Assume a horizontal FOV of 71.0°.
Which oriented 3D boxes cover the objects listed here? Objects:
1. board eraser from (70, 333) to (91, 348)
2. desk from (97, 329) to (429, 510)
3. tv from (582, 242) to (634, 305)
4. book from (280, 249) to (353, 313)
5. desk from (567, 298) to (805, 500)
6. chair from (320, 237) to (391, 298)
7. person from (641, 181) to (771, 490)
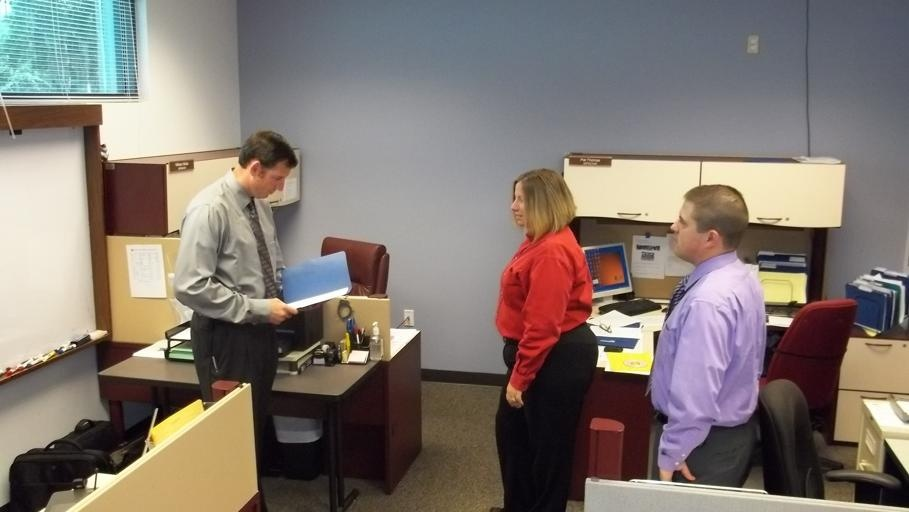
[{"bbox_3d":[-2.844,0.646,4.837,0.073,0.033,0.099,4,11,20],"label":"board eraser"},{"bbox_3d":[-0.933,1.200,4.746,1.856,0.922,1.460,1,11,7],"label":"desk"},{"bbox_3d":[1.337,0.145,5.604,0.590,0.479,0.078,-8,5,-38],"label":"tv"},{"bbox_3d":[-0.923,0.175,4.242,0.530,0.352,0.327,-10,-10,-21],"label":"book"},{"bbox_3d":[1.503,1.085,4.600,1.017,1.550,0.749,-13,-16,-6],"label":"desk"},{"bbox_3d":[-0.914,0.090,5.903,0.532,0.695,0.553,1,7,18],"label":"chair"},{"bbox_3d":[1.422,0.457,3.553,0.630,1.668,0.481,-1,11,14],"label":"person"}]
